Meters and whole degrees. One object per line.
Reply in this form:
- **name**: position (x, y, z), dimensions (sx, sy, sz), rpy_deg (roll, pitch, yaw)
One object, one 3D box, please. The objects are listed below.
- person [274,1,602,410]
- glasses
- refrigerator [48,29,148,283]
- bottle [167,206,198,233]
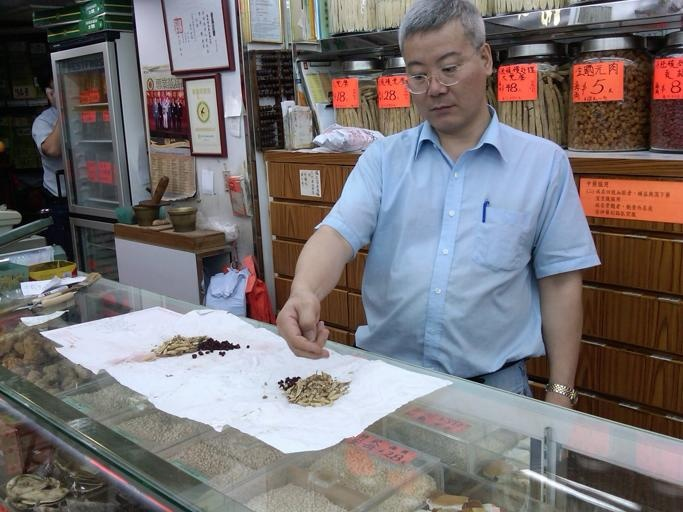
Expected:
- **person**: position (0.278, -0.125, 1.441), dimensions (0.952, 1.204, 0.488), rpy_deg (-7, 14, -12)
- **glasses**: position (0.292, -0.522, 1.338), dimensions (0.196, 0.115, 0.075), rpy_deg (-1, 14, 15)
- **refrigerator**: position (-2.319, -0.887, 4.595), dimensions (1.192, 2.277, 0.420), rpy_deg (4, 16, 33)
- **bottle**: position (-1.238, -0.299, 3.662), dimensions (0.204, 0.156, 0.200), rpy_deg (-1, 13, 0)
